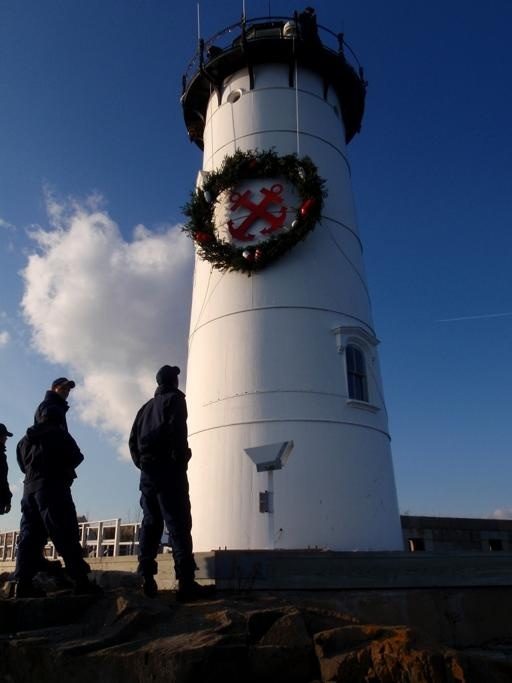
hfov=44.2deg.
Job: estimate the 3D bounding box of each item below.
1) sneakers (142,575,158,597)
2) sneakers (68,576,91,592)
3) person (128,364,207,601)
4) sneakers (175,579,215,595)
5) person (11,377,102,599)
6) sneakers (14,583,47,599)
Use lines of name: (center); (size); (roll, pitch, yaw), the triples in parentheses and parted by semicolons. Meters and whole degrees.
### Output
sneakers: (-0.858, 1.977, 5.083); (0.112, 0.160, 0.327); (-2, -20, -12)
sneakers: (-1.380, 1.944, 5.043); (0.132, 0.124, 0.299); (1, -21, -21)
person: (-0.777, 1.159, 5.376); (0.350, 1.963, 0.704); (11, -25, -41)
sneakers: (-0.460, 1.956, 4.990); (0.136, 0.127, 0.415); (-21, -23, 36)
person: (-1.778, 1.188, 5.565); (0.615, 1.983, 1.006); (2, -20, -22)
sneakers: (-1.828, 2.020, 5.153); (0.210, 0.119, 0.333); (8, -24, -36)
